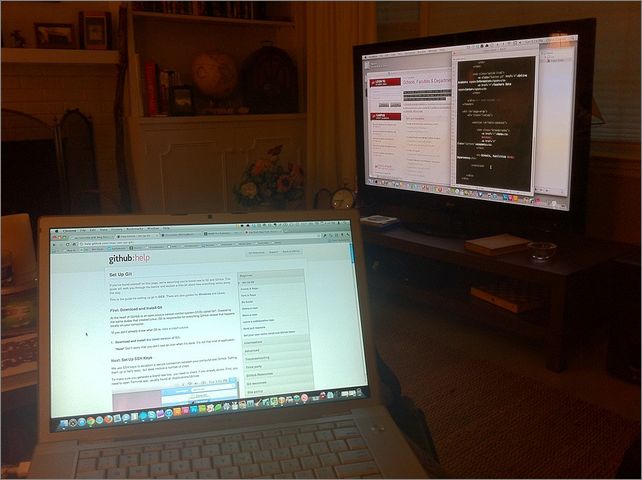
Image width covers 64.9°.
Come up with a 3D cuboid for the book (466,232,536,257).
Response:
[{"bbox_3d":[0.842,0.026,2.418,0.284,0.056,0.207,-4,13,-20],"label":"book"}]

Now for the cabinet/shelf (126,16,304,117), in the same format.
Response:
[{"bbox_3d":[-0.807,-1.349,3.908,1.369,0.756,0.363,-7,14,-32],"label":"cabinet/shelf"}]

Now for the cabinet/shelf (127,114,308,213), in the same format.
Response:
[{"bbox_3d":[-0.753,-0.597,3.808,1.210,0.722,0.232,-8,14,-35],"label":"cabinet/shelf"}]
